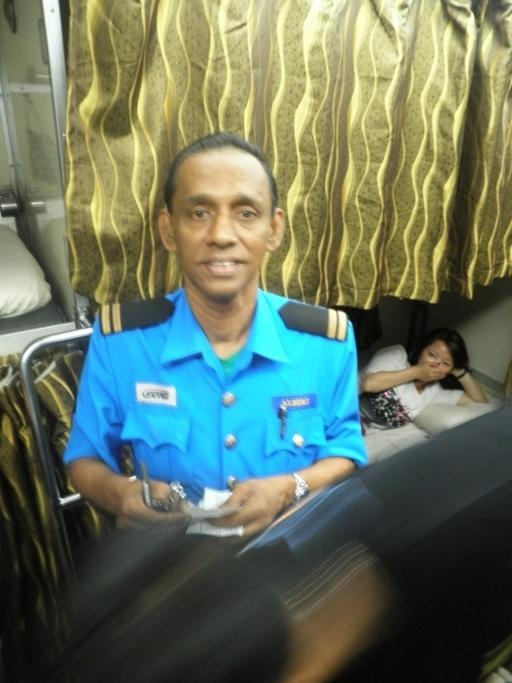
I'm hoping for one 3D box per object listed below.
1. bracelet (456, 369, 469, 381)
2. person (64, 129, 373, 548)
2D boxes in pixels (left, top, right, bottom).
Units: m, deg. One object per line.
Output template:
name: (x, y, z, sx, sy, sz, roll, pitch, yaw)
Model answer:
bracelet: (1.433, 0.233, 3.367, 0.075, 0.032, 0.079, -22, -11, -36)
person: (-0.101, 0.085, 1.068, 0.636, 1.044, 0.480, 1, 1, -5)
